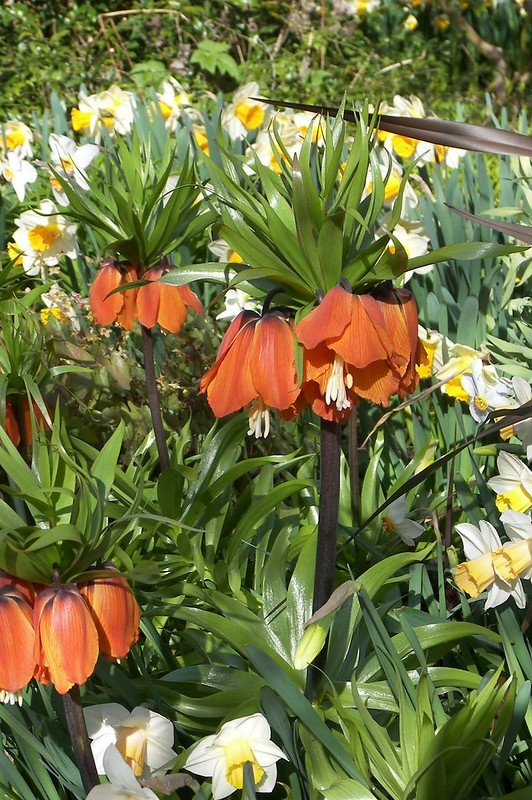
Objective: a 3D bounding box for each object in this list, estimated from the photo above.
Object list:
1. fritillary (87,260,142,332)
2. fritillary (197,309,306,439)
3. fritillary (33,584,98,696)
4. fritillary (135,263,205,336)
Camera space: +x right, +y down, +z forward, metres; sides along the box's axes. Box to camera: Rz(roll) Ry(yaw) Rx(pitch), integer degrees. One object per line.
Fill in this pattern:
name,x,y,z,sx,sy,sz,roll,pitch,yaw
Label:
fritillary,-0.287,-0.195,1.236,0.074,0.119,0.108,6,32,9
fritillary,-0.011,-0.031,0.724,0.111,0.122,0.119,10,17,13
fritillary,-0.171,0.204,0.552,0.047,0.084,0.057,-4,10,-36
fritillary,-0.181,-0.171,1.230,0.135,0.118,0.132,-11,-12,-2
